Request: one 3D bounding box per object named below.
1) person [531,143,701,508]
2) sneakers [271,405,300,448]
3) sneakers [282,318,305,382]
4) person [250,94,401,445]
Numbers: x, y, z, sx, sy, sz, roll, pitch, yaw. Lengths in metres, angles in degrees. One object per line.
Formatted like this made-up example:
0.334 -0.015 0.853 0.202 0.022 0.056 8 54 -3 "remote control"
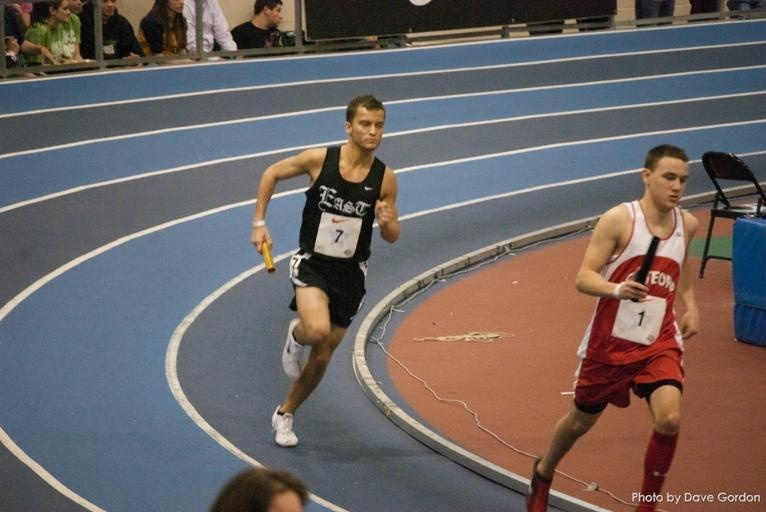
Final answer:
1.260 0.437 3.068 0.736 1.971 0.899 7 20 26 "person"
-0.641 1.108 3.733 0.112 0.143 0.314 -2 15 -20 "sneakers"
-0.621 0.653 3.857 0.153 0.466 0.178 -3 17 -19 "sneakers"
-0.347 0.092 3.766 0.977 2.167 0.715 -7 18 -14 "person"
